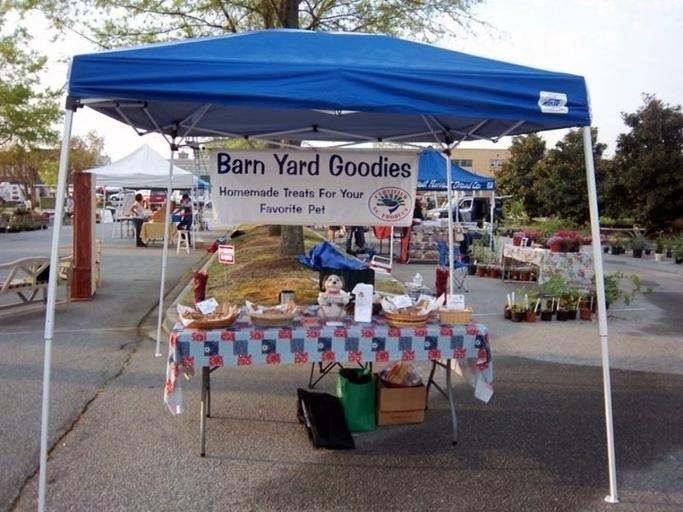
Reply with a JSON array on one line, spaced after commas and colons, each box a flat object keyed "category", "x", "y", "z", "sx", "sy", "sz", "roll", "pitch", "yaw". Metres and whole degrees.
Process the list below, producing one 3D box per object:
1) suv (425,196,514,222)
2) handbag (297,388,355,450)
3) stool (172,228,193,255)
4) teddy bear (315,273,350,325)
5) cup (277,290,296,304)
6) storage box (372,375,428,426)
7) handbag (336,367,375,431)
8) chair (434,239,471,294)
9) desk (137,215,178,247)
[{"category": "suv", "x": 6.613, "y": -2.402, "z": 28.216, "sx": 4.187, "sy": 2.104, "sz": 1.993, "roll": 0, "pitch": 5, "yaw": -1}, {"category": "handbag", "x": -0.159, "y": 1.713, "z": 5.910, "sx": 0.465, "sy": 0.243, "sz": 0.661, "roll": 9, "pitch": 27, "yaw": -27}, {"category": "stool", "x": -6.073, "y": -0.567, "z": 21.506, "sx": 0.965, "sy": 1.322, "sz": 0.924, "roll": 0, "pitch": -2, "yaw": -10}, {"category": "teddy bear", "x": -0.112, "y": 0.478, "z": 6.039, "sx": 0.469, "sy": 0.638, "sz": 0.390, "roll": 1, "pitch": -15, "yaw": -5}, {"category": "cup", "x": -0.621, "y": 0.506, "z": 6.361, "sx": 0.193, "sy": 0.208, "sz": 0.203, "roll": 1, "pitch": 12, "yaw": 0}, {"category": "storage box", "x": 0.677, "y": 1.616, "z": 6.303, "sx": 0.817, "sy": 0.339, "sz": 0.859, "roll": -1, "pitch": -21, "yaw": 16}, {"category": "handbag", "x": 0.161, "y": 1.542, "z": 6.167, "sx": 0.428, "sy": 0.585, "sz": 0.563, "roll": -1, "pitch": 10, "yaw": -5}, {"category": "chair", "x": 1.965, "y": 0.195, "z": 10.141, "sx": 0.595, "sy": 1.057, "sz": 0.838, "roll": -1, "pitch": 11, "yaw": 5}, {"category": "desk", "x": -7.106, "y": -0.973, "z": 21.966, "sx": 1.487, "sy": 0.857, "sz": 1.561, "roll": -5, "pitch": 10, "yaw": -25}]
